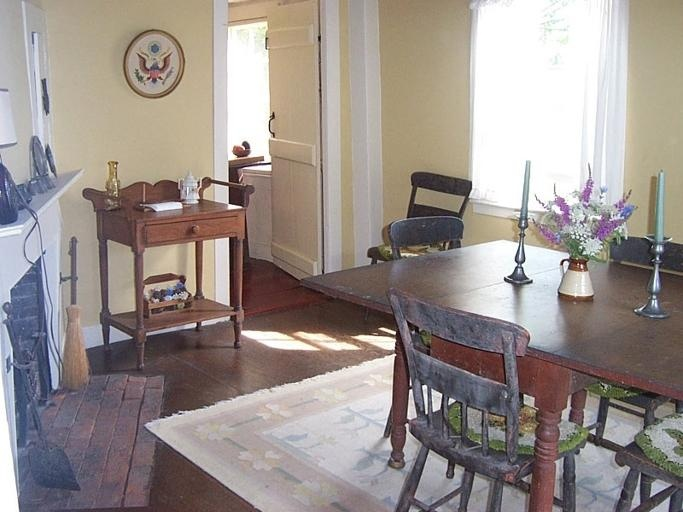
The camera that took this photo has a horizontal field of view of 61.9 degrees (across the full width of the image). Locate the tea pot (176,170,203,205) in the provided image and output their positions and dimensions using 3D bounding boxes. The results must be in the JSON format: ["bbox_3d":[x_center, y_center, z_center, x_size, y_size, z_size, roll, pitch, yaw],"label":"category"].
[{"bbox_3d":[-1.028,-0.486,3.982,0.206,0.262,0.225,1,4,0],"label":"tea pot"}]

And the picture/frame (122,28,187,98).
[{"bbox_3d":[-1.331,-1.353,3.958,0.487,0.564,0.061,-5,15,-38],"label":"picture/frame"}]

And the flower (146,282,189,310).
[{"bbox_3d":[-1.220,0.271,3.947,0.249,0.160,0.188,-11,21,-40],"label":"flower"}]

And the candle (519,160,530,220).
[{"bbox_3d":[0.870,-0.326,2.693,0.039,0.277,0.492,2,13,17],"label":"candle"}]

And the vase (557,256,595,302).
[{"bbox_3d":[0.948,0.088,2.307,0.148,0.174,0.136,7,17,23],"label":"vase"}]

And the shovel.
[{"bbox_3d":[-1.373,0.553,2.566,0.179,0.912,0.754,-9,15,-30],"label":"shovel"}]

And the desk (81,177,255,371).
[{"bbox_3d":[-1.176,0.098,3.921,1.049,1.175,0.602,-8,14,-43],"label":"desk"}]
